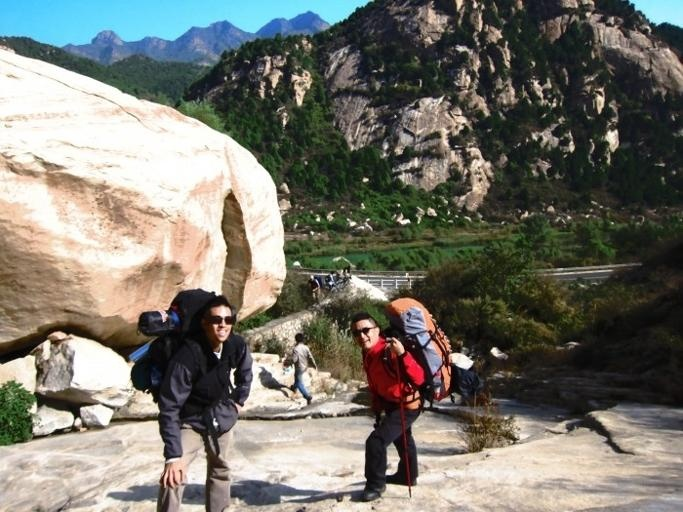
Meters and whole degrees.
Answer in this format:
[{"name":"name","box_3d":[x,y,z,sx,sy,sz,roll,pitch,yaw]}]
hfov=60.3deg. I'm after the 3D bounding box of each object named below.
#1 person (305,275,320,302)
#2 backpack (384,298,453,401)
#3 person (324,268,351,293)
[{"name":"person","box_3d":[-1.043,1.255,21.517,0.369,0.779,0.463,-12,0,6]},{"name":"backpack","box_3d":[0.872,1.048,6.463,0.798,1.139,0.487,-1,3,-8]},{"name":"person","box_3d":[-0.184,1.033,23.919,1.016,0.652,0.560,-37,4,14]}]
